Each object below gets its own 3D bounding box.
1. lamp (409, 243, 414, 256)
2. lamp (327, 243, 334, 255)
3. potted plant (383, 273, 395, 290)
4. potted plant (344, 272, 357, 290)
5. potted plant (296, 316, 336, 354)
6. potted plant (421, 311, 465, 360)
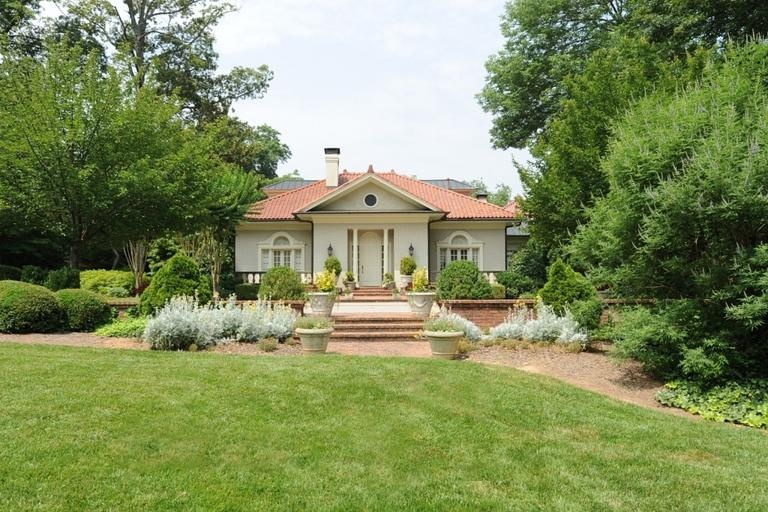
[{"bbox_3d":[1.368,-0.326,34.131,0.259,0.633,0.187,1,-3,3],"label":"lamp"},{"bbox_3d":[-2.611,-0.325,34.227,0.372,0.557,0.205,1,-3,-7],"label":"lamp"},{"bbox_3d":[0.224,1.230,33.559,0.694,1.018,0.643,-1,-6,-13],"label":"potted plant"},{"bbox_3d":[-1.620,1.207,33.217,0.583,0.882,0.638,2,-4,-11],"label":"potted plant"},{"bbox_3d":[-2.135,2.436,21.219,1.292,1.294,1.284,-1,-3,22],"label":"potted plant"},{"bbox_3d":[1.850,2.474,20.836,1.247,1.287,1.201,6,-6,-10],"label":"potted plant"}]
